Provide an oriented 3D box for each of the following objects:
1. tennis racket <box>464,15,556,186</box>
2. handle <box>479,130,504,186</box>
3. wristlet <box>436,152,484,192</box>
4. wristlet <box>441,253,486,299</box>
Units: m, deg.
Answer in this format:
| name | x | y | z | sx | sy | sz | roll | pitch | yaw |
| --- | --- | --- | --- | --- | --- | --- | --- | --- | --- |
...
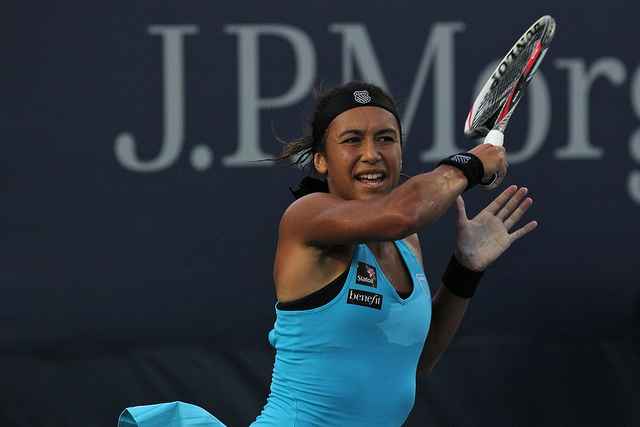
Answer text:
| name | x | y | z | sx | sy | sz | roll | pitch | yaw |
| --- | --- | --- | --- | --- | --- | --- | --- | --- | --- |
| tennis racket | 1.165 | -0.848 | 6.607 | 0.517 | 1.242 | 0.529 | -4 | 14 | -25 |
| handle | 1.083 | -0.345 | 6.213 | 0.124 | 0.353 | 0.276 | 4 | 6 | 10 |
| wristlet | 0.858 | -0.272 | 6.019 | 0.211 | 0.254 | 0.206 | -6 | 11 | -33 |
| wristlet | 0.928 | 0.413 | 6.389 | 0.257 | 0.282 | 0.075 | 4 | 6 | 10 |
